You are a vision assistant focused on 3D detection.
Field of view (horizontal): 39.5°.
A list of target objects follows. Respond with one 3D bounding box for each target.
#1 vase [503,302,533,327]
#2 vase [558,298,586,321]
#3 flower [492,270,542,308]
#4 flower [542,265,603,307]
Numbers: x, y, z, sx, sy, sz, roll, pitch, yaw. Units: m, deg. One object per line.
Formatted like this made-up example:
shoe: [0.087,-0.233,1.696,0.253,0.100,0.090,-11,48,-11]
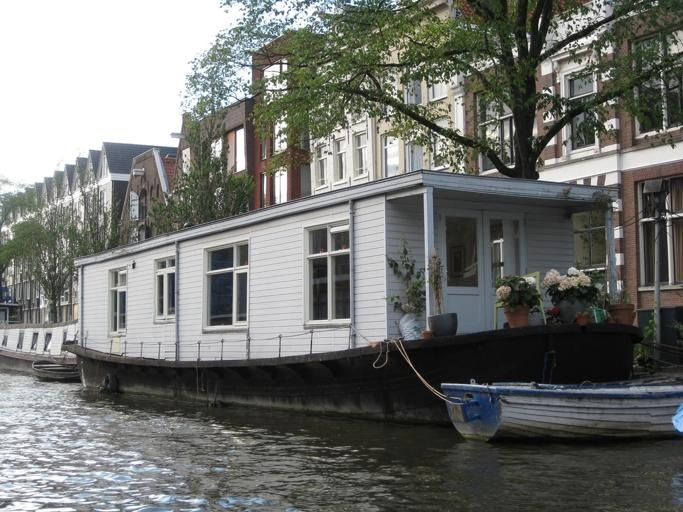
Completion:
vase: [2.860,0.963,15.469,0.360,0.290,0.374,1,-12,-5]
vase: [3.802,0.876,15.627,0.342,0.283,0.323,-7,-11,40]
flower: [2.852,0.555,15.516,0.597,0.533,0.565,-2,9,-3]
flower: [3.844,0.587,15.900,0.735,0.724,0.825,-9,-18,24]
